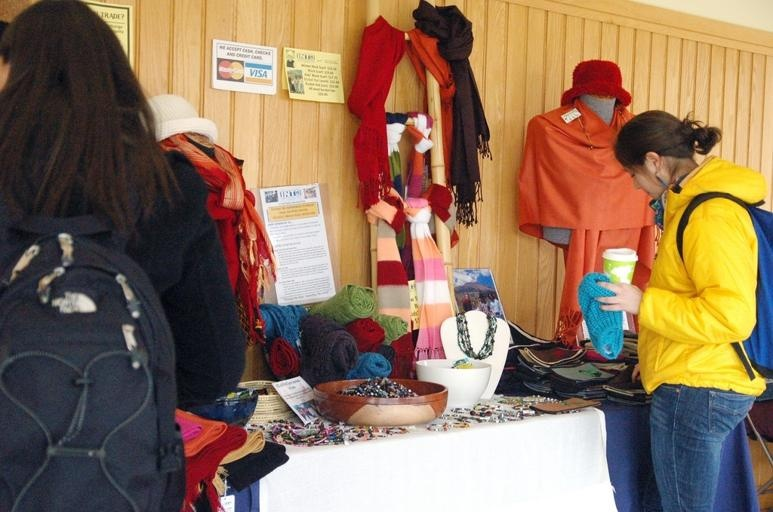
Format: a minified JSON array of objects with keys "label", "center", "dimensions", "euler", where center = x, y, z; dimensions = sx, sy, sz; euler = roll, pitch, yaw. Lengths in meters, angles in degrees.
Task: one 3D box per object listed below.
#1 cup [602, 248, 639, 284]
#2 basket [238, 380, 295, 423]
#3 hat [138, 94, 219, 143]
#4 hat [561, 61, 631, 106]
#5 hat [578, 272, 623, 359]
[{"label":"cup","center":[0.862,0.037,2.623],"dimensions":[0.133,0.135,0.132],"euler":[0,0,0]},{"label":"basket","center":[-0.441,0.507,2.464],"dimensions":[0.144,0.062,0.147],"euler":[1,1,24]},{"label":"hat","center":[-0.664,-0.434,2.372],"dimensions":[0.321,0.169,0.228],"euler":[0,11,-11]},{"label":"hat","center":[0.970,-0.774,3.264],"dimensions":[0.240,0.135,0.245],"euler":[1,3,33]},{"label":"hat","center":[0.776,0.205,2.498],"dimensions":[0.158,0.296,0.090],"euler":[-12,2,27]}]
